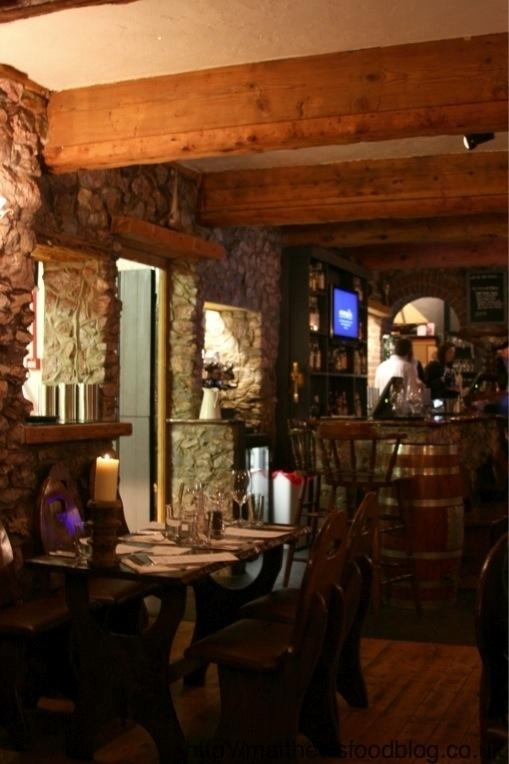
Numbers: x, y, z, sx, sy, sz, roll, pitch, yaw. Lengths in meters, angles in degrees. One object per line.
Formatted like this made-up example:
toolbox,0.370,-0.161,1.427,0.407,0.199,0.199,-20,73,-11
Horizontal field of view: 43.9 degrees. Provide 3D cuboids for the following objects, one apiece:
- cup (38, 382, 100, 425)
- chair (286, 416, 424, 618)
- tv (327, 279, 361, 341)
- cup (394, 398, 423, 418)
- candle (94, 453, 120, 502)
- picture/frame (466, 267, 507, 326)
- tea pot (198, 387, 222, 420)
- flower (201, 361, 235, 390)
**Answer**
cup,-1.074,0.116,3.691,0.348,0.266,0.201,1,2,-4
chair,0.657,0.799,4.632,0.973,1.674,1.006,-2,-1,43
tv,1.085,-0.896,7.760,0.104,0.632,0.817,0,0,23
cup,1.312,0.178,5.371,0.228,0.171,0.128,2,1,16
candle,-0.471,0.304,1.990,0.081,0.131,0.083,-2,-9,24
picture/frame,3.971,-1.463,10.740,0.640,0.699,0.377,-1,-1,20
tea pot,-0.365,0.166,5.091,0.161,0.252,0.146,-1,-1,-6
flower,-0.317,-0.029,5.275,0.239,0.233,0.252,-11,9,-26
